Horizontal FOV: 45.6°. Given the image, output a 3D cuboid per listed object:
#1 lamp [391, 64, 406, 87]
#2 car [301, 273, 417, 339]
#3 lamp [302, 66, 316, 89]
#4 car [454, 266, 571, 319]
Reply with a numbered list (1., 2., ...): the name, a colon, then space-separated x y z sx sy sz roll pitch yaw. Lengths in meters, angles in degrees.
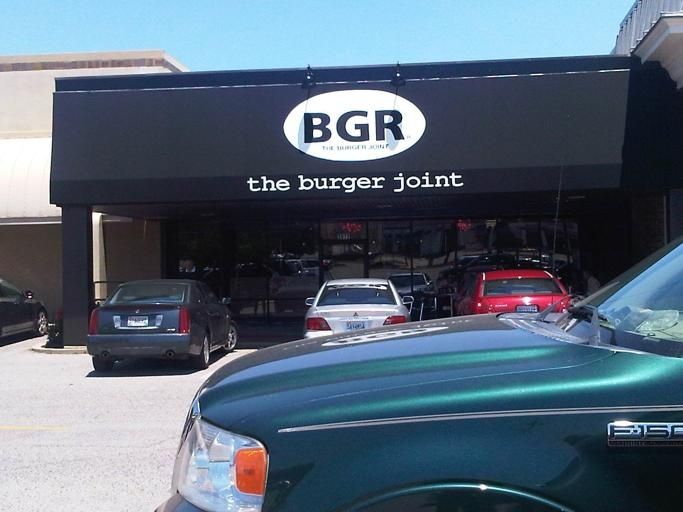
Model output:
1. lamp: 1.203 -3.894 17.453 0.274 0.487 0.261 0 10 23
2. car: 0.394 0.810 13.871 1.302 0.933 2.731 -1 3 7
3. lamp: -0.708 -3.850 17.529 0.293 0.443 0.279 -4 9 -2
4. car: 2.986 0.615 14.986 1.045 0.836 2.501 -1 2 4
